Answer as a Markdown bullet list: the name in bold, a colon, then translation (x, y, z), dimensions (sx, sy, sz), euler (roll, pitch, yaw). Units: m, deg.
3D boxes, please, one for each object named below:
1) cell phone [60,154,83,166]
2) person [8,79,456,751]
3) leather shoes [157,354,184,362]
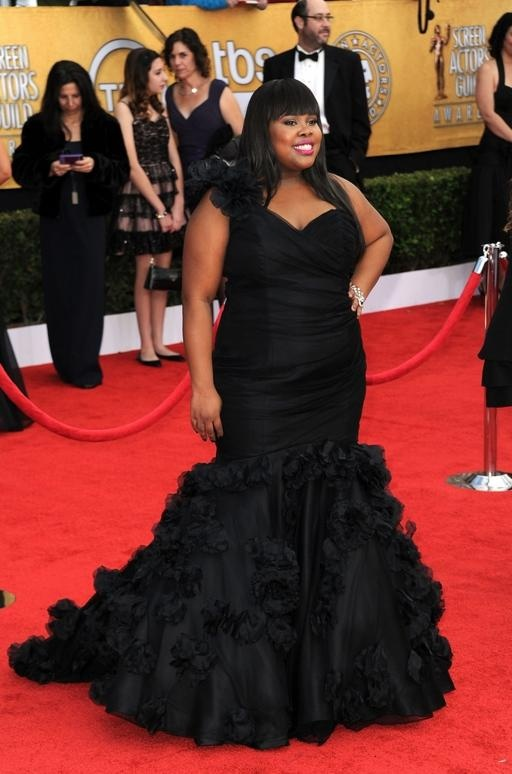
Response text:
- **cell phone**: translation (-1.359, -1.673, 4.634), dimensions (0.099, 0.024, 0.102), euler (0, -15, -10)
- **person**: translation (0.028, 0.038, 1.526), dimensions (0.989, 1.568, 0.623), euler (-2, 6, -14)
- **leather shoes**: translation (-0.796, -0.268, 5.847), dimensions (0.240, 0.058, 0.086), euler (0, 5, 10)
